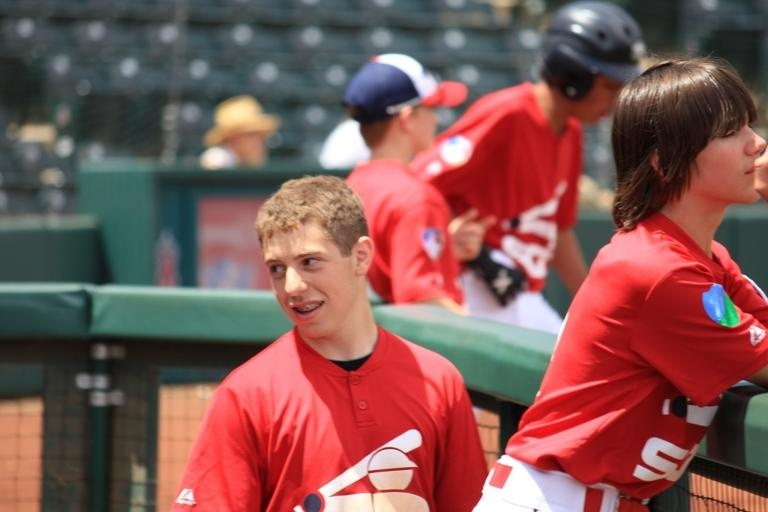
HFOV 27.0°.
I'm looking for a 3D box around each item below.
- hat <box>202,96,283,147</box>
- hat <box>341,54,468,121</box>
[{"bbox_3d":[-0.811,-0.763,9.136,0.431,0.200,0.516,-19,4,21],"label":"hat"},{"bbox_3d":[0.082,-0.813,7.438,0.469,0.258,0.289,-9,14,-20],"label":"hat"}]
